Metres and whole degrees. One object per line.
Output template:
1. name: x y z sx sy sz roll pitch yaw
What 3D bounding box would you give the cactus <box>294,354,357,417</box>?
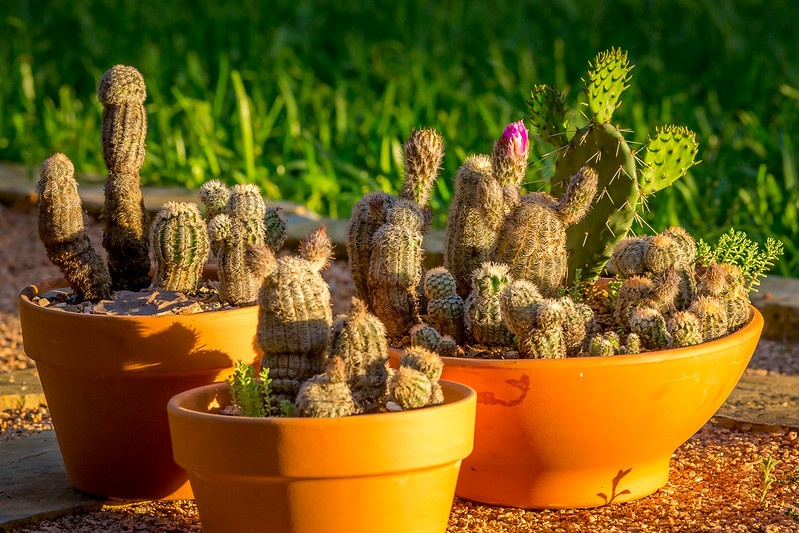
1. cactus: -0.304 0.472 4.990 0.200 0.272 0.131 1 -2 -10

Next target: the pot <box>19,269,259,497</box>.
1. pot: -1.252 0.514 5.654 0.837 0.743 0.893 2 -1 0
